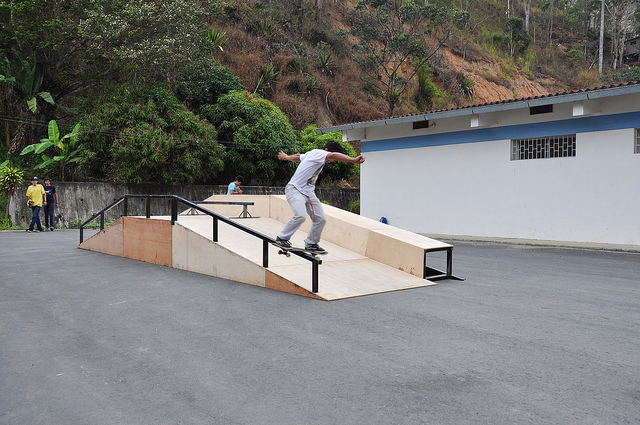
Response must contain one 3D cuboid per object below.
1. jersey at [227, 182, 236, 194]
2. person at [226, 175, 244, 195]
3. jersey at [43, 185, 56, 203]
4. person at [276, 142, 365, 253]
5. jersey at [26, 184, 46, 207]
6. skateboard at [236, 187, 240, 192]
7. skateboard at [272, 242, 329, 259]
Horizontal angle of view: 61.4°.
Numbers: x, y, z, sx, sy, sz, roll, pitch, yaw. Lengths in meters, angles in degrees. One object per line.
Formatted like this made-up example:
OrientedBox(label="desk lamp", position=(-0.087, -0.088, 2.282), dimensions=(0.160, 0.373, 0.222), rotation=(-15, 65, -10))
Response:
OrientedBox(label="jersey", position=(-2.916, -0.784, 17.866), dimensions=(0.252, 0.381, 0.911), rotation=(0, 5, -8))
OrientedBox(label="person", position=(-2.831, -0.896, 18.025), dimensions=(0.394, 0.611, 1.386), rotation=(0, 5, -11))
OrientedBox(label="jersey", position=(-10.645, -0.675, 21.193), dimensions=(0.307, 0.838, 0.639), rotation=(1, 3, 43))
OrientedBox(label="person", position=(-0.223, -0.323, 11.330), dimensions=(1.376, 2.275, 0.783), rotation=(0, 5, -1))
OrientedBox(label="jersey", position=(-10.881, -0.620, 20.607), dimensions=(0.538, 0.861, 0.390), rotation=(-2, 5, -29))
OrientedBox(label="skateboard", position=(-2.795, -0.759, 18.383), dimensions=(0.106, 0.161, 0.488), rotation=(0, 5, -9))
OrientedBox(label="skateboard", position=(-0.558, 0.810, 11.323), dimensions=(0.449, 0.295, 1.875), rotation=(2, 3, -38))
